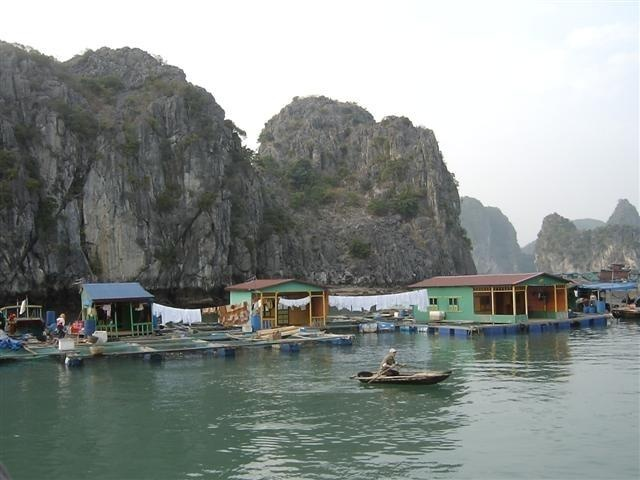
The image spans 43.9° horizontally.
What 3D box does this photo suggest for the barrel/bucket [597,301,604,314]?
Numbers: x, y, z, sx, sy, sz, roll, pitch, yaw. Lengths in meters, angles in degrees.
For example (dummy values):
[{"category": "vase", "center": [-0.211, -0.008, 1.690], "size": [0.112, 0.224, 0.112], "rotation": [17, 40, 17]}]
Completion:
[{"category": "barrel/bucket", "center": [31.012, 7.343, 87.601], "size": [0.903, 1.212, 2.579], "rotation": [3, 10, 19]}]
